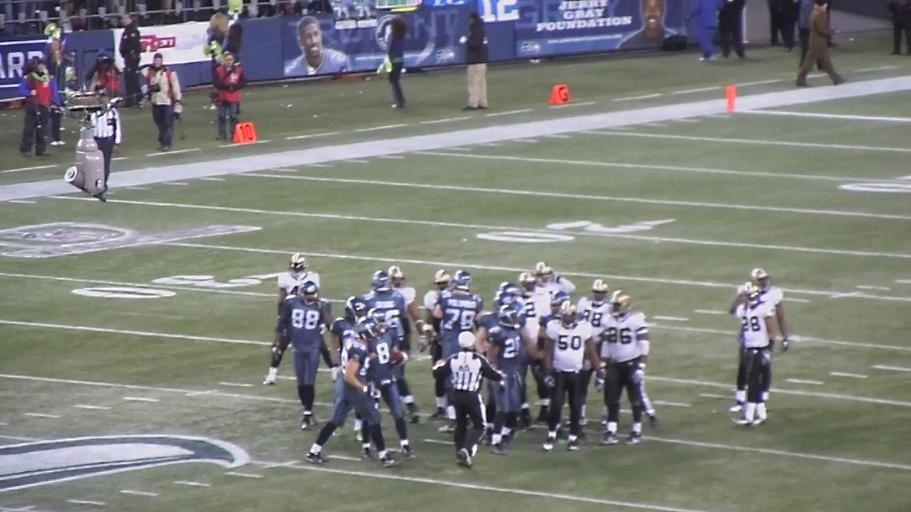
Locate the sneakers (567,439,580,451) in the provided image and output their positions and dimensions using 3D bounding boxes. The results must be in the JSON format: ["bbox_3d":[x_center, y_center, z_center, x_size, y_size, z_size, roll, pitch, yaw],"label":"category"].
[{"bbox_3d":[2.426,3.817,34.716,0.277,0.224,0.187,-3,7,27],"label":"sneakers"}]

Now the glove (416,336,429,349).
[{"bbox_3d":[-0.609,1.794,35.500,0.240,0.273,0.293,6,20,-8],"label":"glove"}]

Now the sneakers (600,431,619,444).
[{"bbox_3d":[3.133,3.679,34.822,0.340,0.255,0.208,-3,10,0],"label":"sneakers"}]

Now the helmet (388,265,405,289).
[{"bbox_3d":[-1.171,0.503,36.148,0.269,0.381,0.469,-16,-5,33],"label":"helmet"}]

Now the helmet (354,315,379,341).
[{"bbox_3d":[-1.722,1.447,34.200,0.476,0.424,0.369,5,9,-19],"label":"helmet"}]

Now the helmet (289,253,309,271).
[{"bbox_3d":[-3.261,0.172,36.183,0.387,0.405,0.417,8,10,8],"label":"helmet"}]

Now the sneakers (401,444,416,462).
[{"bbox_3d":[-0.888,3.901,34.434,0.263,0.283,0.284,-4,9,-2],"label":"sneakers"}]

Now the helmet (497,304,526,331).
[{"bbox_3d":[1.212,1.253,34.677,0.543,0.461,0.489,11,3,-18],"label":"helmet"}]

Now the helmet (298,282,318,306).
[{"bbox_3d":[-2.901,0.794,35.304,0.341,0.491,0.203,-5,10,-9],"label":"helmet"}]

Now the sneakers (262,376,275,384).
[{"bbox_3d":[-3.809,2.650,36.254,0.208,0.170,0.309,11,3,-5],"label":"sneakers"}]

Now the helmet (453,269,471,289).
[{"bbox_3d":[0.164,0.569,35.436,0.332,0.364,0.400,-2,-23,21],"label":"helmet"}]

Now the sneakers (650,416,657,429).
[{"bbox_3d":[4.032,3.382,34.935,0.172,0.211,0.087,-1,3,43],"label":"sneakers"}]

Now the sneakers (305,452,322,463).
[{"bbox_3d":[-2.783,4.043,34.265,0.430,0.124,0.187,11,-33,-9],"label":"sneakers"}]

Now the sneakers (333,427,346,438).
[{"bbox_3d":[-2.282,3.633,35.168,0.212,0.069,0.290,5,23,-5],"label":"sneakers"}]

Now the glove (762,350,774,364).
[{"bbox_3d":[6.377,2.077,35.259,0.274,0.258,0.305,1,8,9],"label":"glove"}]

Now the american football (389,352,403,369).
[{"bbox_3d":[-1.092,2.124,34.638,0.324,0.210,0.289,-6,-31,-4],"label":"american football"}]

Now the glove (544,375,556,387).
[{"bbox_3d":[1.936,2.552,34.713,0.190,0.230,0.093,-25,-21,-18],"label":"glove"}]

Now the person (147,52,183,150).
[{"bbox_3d":[-7.785,-4.127,47.052,0.826,2.644,0.985,-5,10,-9],"label":"person"}]

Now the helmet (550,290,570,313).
[{"bbox_3d":[2.155,0.962,34.953,0.415,0.338,0.416,-1,0,1],"label":"helmet"}]

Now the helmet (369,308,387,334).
[{"bbox_3d":[-1.464,1.352,34.354,0.429,0.387,0.463,-1,-5,-4],"label":"helmet"}]

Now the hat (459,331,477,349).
[{"bbox_3d":[0.221,1.700,34.292,0.367,0.309,0.083,17,-16,-27],"label":"hat"}]

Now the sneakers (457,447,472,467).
[{"bbox_3d":[0.262,4.008,34.233,0.192,0.434,0.217,-24,6,5],"label":"sneakers"}]

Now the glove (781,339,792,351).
[{"bbox_3d":[6.921,1.908,36.160,0.102,0.296,0.174,7,36,26],"label":"glove"}]

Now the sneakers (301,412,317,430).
[{"bbox_3d":[-2.910,3.381,35.318,0.212,0.209,0.501,4,9,4],"label":"sneakers"}]

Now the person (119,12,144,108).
[{"bbox_3d":[-9.390,-5.678,50.941,0.641,2.725,1.457,-6,10,-10],"label":"person"}]

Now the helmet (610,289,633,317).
[{"bbox_3d":[3.455,1.032,35.676,0.542,0.587,0.362,-3,5,-28],"label":"helmet"}]

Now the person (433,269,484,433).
[{"bbox_3d":[0.083,1.798,35.719,1.093,2.662,0.972,5,5,8],"label":"person"}]

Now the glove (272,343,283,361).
[{"bbox_3d":[-3.611,2.064,35.953,0.174,0.482,0.130,-8,48,-40],"label":"glove"}]

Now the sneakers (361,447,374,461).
[{"bbox_3d":[-1.686,3.969,34.537,0.161,0.173,0.282,1,-1,-10],"label":"sneakers"}]

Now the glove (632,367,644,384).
[{"bbox_3d":[3.758,2.452,34.930,0.326,0.270,0.299,0,-3,-18],"label":"glove"}]

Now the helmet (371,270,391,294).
[{"bbox_3d":[-1.510,0.557,35.581,0.476,0.399,0.383,1,9,15],"label":"helmet"}]

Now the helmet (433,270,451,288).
[{"bbox_3d":[-0.163,0.519,35.566,0.317,0.369,0.371,-5,3,-24],"label":"helmet"}]

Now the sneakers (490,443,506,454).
[{"bbox_3d":[0.904,3.898,34.600,0.315,0.248,0.137,2,9,11],"label":"sneakers"}]

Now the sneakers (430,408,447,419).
[{"bbox_3d":[-0.277,3.289,35.577,0.423,0.234,0.137,2,-2,12],"label":"sneakers"}]

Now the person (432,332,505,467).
[{"bbox_3d":[0.374,2.838,34.457,1.222,2.625,0.937,-7,11,-18],"label":"person"}]

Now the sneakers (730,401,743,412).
[{"bbox_3d":[5.777,3.133,35.412,0.393,0.238,0.141,2,11,33],"label":"sneakers"}]

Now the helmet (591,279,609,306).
[{"bbox_3d":[3.014,0.762,35.498,0.411,0.394,0.484,-1,4,8],"label":"helmet"}]

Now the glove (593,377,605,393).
[{"bbox_3d":[2.971,2.653,35.111,0.226,0.264,0.286,5,-16,6],"label":"glove"}]

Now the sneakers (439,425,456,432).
[{"bbox_3d":[-0.102,3.550,35.247,0.336,0.125,0.134,3,7,14],"label":"sneakers"}]

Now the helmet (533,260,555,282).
[{"bbox_3d":[1.946,0.383,36.085,0.425,0.359,0.438,-6,3,-9],"label":"helmet"}]

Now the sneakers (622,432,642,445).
[{"bbox_3d":[3.596,3.698,34.762,0.160,0.169,0.411,4,11,22],"label":"sneakers"}]
